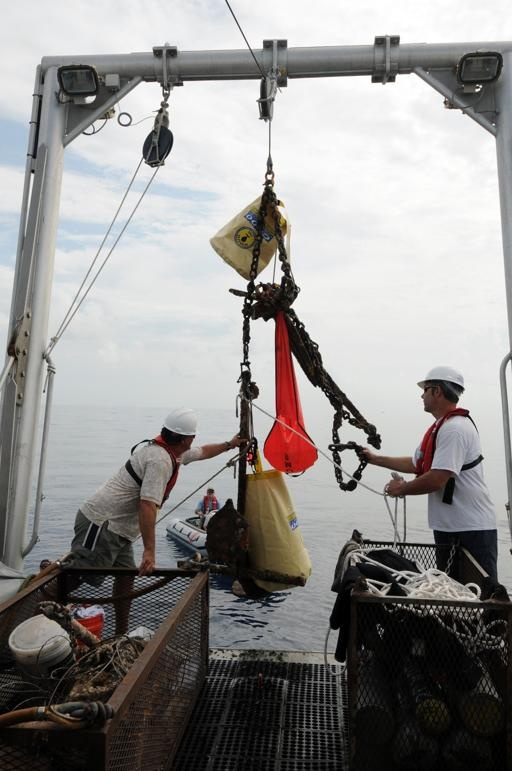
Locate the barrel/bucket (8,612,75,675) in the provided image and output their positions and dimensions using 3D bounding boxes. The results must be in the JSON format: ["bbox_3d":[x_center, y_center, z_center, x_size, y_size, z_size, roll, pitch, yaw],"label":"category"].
[{"bbox_3d":[-1.061,1.258,3.633,0.261,0.184,0.254,1,0,0],"label":"barrel/bucket"}]

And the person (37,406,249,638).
[{"bbox_3d":[-0.729,0.868,4.808,1.083,1.340,1.111,-10,-10,21],"label":"person"}]

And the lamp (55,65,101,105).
[{"bbox_3d":[-1.293,-2.225,5.422,0.306,0.226,0.330,-5,-9,-9],"label":"lamp"}]

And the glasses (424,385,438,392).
[{"bbox_3d":[1.144,0.018,4.784,0.068,0.020,0.071,-3,-13,39],"label":"glasses"}]

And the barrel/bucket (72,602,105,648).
[{"bbox_3d":[-1.066,1.512,4.758,0.098,0.218,0.285,-10,-10,20],"label":"barrel/bucket"}]

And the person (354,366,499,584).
[{"bbox_3d":[1.127,0.529,4.545,0.665,1.336,1.000,-8,-9,9],"label":"person"}]

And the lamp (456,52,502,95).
[{"bbox_3d":[1.582,-2.184,5.189,0.327,0.164,0.353,-6,-9,-3],"label":"lamp"}]

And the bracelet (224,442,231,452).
[{"bbox_3d":[-0.180,0.417,5.062,0.053,0.077,0.075,2,-2,3],"label":"bracelet"}]

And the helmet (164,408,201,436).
[{"bbox_3d":[-0.452,0.233,4.795,0.201,0.125,0.162,3,16,-39],"label":"helmet"}]
